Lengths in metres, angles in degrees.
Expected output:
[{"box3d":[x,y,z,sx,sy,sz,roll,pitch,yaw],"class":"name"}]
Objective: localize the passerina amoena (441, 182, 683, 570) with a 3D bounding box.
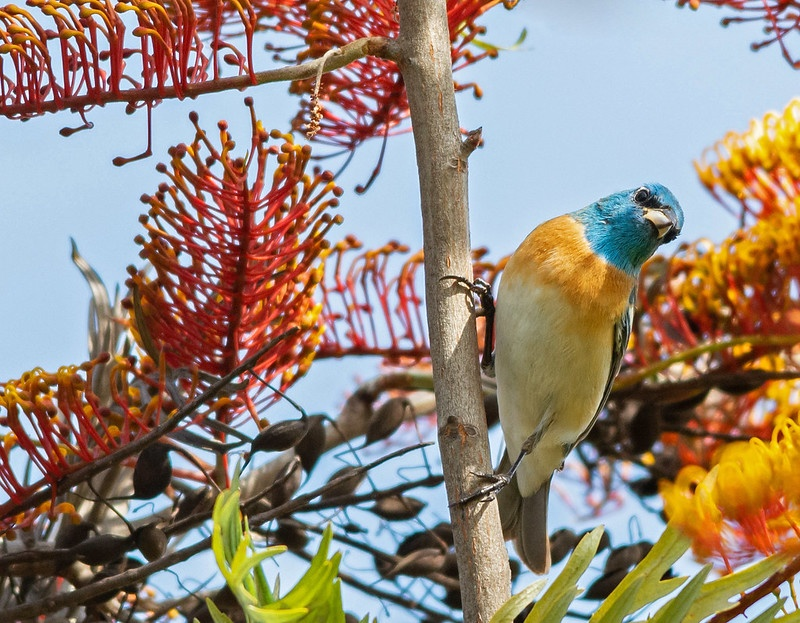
[{"box3d":[0.640,0.252,7.602,0.745,1.246,1.005,5,-32,-30],"class":"passerina amoena"}]
